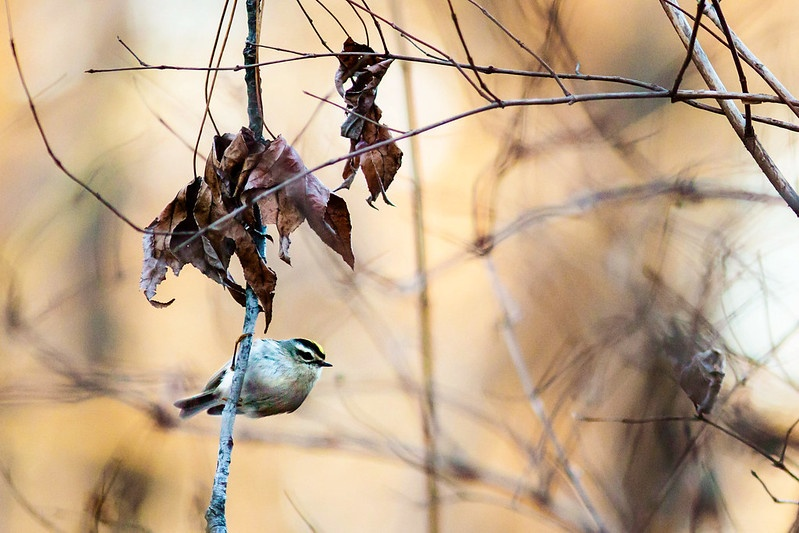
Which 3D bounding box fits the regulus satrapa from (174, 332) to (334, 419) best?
[{"bbox_3d":[-0.336,0.289,2.413,0.336,0.249,0.186,1,-29,29],"label":"regulus satrapa"}]
